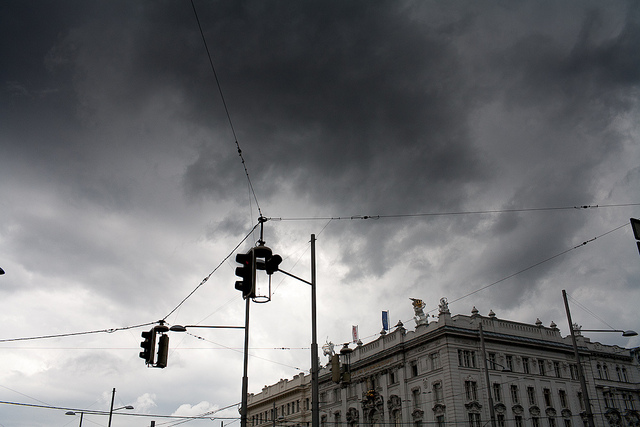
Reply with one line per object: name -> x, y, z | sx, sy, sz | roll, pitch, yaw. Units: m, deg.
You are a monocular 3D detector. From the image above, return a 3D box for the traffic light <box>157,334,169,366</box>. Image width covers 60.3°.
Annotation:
traffic light -> -13.226, 11.595, 46.299 | 0.976, 2.382, 1.015 | 17, -39, -16
